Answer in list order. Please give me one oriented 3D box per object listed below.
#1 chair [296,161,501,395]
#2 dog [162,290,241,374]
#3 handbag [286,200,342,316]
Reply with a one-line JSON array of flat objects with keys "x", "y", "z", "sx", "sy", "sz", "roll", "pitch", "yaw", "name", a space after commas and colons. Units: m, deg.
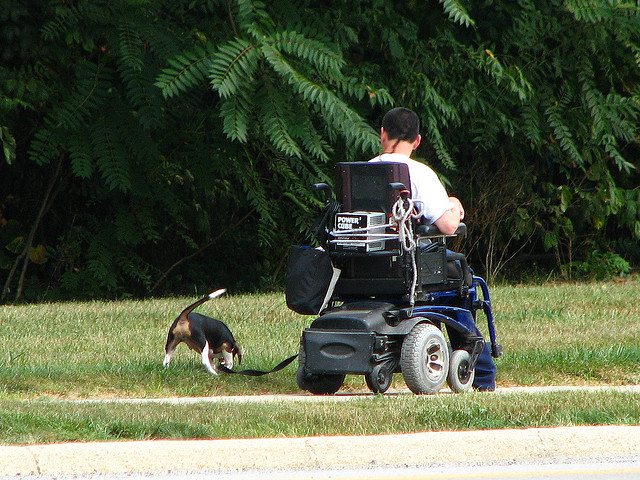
[{"x": 1.012, "y": 0.530, "z": 15.464, "sx": 1.792, "sy": 2.724, "sz": 2.564, "roll": -1, "pitch": -3, "yaw": 27, "name": "chair"}, {"x": -1.511, "y": 1.197, "z": 15.728, "sx": 0.499, "sy": 0.880, "sz": 1.444, "roll": -7, "pitch": -24, "yaw": 18, "name": "dog"}, {"x": -0.063, "y": 0.096, "z": 15.037, "sx": 0.573, "sy": 1.440, "sz": 0.525, "roll": -5, "pitch": 14, "yaw": -45, "name": "handbag"}]
